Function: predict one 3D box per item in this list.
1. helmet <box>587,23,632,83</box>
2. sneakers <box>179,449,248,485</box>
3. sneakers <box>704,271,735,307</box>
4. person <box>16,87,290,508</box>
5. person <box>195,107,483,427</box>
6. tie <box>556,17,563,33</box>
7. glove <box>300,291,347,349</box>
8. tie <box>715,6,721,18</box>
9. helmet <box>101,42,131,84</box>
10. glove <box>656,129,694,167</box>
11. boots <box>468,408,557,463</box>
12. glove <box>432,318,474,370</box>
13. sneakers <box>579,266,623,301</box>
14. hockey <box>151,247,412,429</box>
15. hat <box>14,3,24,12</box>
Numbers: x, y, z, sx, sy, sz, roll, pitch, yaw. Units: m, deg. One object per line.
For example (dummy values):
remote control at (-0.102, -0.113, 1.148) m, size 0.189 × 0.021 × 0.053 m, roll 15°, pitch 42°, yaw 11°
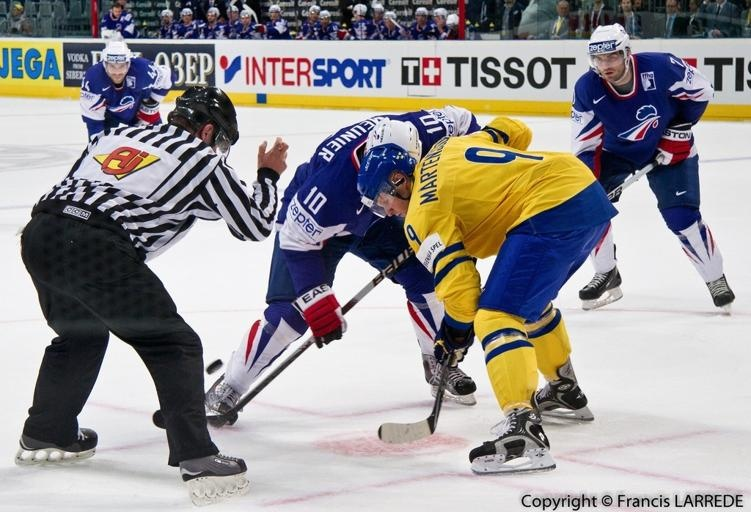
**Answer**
helmet at (1.446, -1.242, 5.590) m, size 0.265 × 0.366 × 0.208 m, roll 6°, pitch 15°, yaw 10°
sneakers at (-0.608, 0.788, 3.410) m, size 0.298 × 0.129 × 0.097 m, roll -1°, pitch -5°, yaw -17°
sneakers at (2.034, 0.192, 5.349) m, size 0.104 × 0.087 × 0.258 m, roll 45°, pitch 23°, yaw -9°
person at (-0.932, 0.097, 3.604) m, size 0.980 × 1.497 × 0.906 m, roll 4°, pitch 15°, yaw -1°
person at (-0.157, 0.117, 4.228) m, size 1.292 × 1.262 × 0.838 m, roll -30°, pitch 54°, yaw -35°
tie at (2.471, -3.112, 12.192) m, size 0.072 × 0.176 × 0.092 m, roll 3°, pitch 15°, yaw -3°
glove at (-0.223, 0.270, 4.079) m, size 0.196 × 0.243 × 0.098 m, roll -34°, pitch 6°, yaw 15°
tie at (4.288, -3.083, 11.356) m, size 0.073 × 0.125 × 0.029 m, roll 7°, pitch 15°, yaw 11°
helmet at (-2.154, -1.607, 7.532) m, size 0.229 × 0.335 × 0.420 m, roll 0°, pitch 15°, yaw -16°
glove at (1.793, -0.657, 5.466) m, size 0.185 × 0.234 × 0.091 m, roll 21°, pitch -9°, yaw 42°
boots at (0.507, 0.700, 3.515) m, size 0.402 × 0.239 × 0.134 m, roll 2°, pitch -3°, yaw -27°
glove at (0.322, 0.350, 3.722) m, size 0.195 × 0.225 × 0.096 m, roll 10°, pitch 31°, yaw -34°
sneakers at (1.455, 0.156, 5.590) m, size 0.407 × 0.164 × 0.121 m, roll -18°, pitch 20°, yaw -33°
hockey at (-0.417, 0.420, 4.374) m, size 1.129 × 0.252 × 0.090 m, roll -38°, pitch 58°, yaw -13°
hat at (-6.440, -4.483, 16.325) m, size 0.168 × 0.134 × 0.124 m, roll 4°, pitch 6°, yaw 21°
